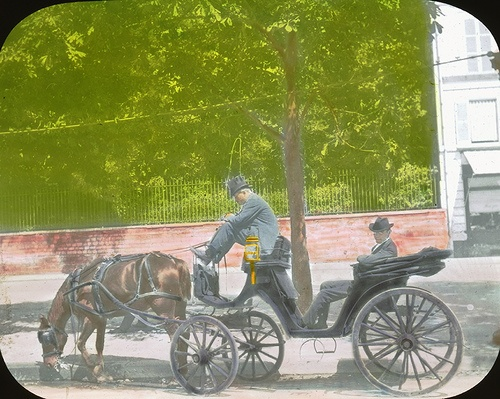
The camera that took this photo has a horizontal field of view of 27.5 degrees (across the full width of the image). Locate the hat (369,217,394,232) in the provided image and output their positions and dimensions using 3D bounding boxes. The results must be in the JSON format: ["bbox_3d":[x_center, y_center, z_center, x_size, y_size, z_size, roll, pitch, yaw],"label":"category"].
[{"bbox_3d":[1.221,0.232,9.568,0.132,0.068,0.160,3,6,37],"label":"hat"}]

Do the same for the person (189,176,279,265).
[{"bbox_3d":[-0.066,0.211,9.687,0.930,1.110,0.555,1,-9,8],"label":"person"}]

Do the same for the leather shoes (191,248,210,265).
[{"bbox_3d":[-0.447,0.535,9.687,0.098,0.229,0.080,-46,-1,0],"label":"leather shoes"}]

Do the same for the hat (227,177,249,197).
[{"bbox_3d":[-0.122,-0.141,9.708,0.200,0.116,0.170,-26,-10,-17],"label":"hat"}]
